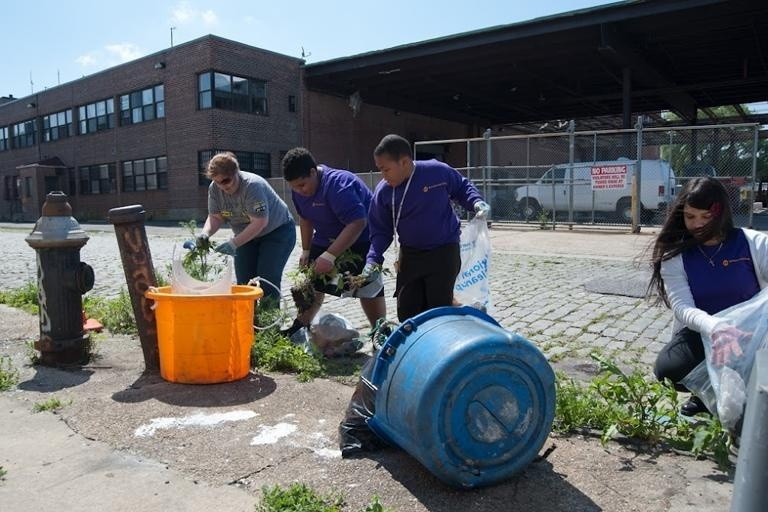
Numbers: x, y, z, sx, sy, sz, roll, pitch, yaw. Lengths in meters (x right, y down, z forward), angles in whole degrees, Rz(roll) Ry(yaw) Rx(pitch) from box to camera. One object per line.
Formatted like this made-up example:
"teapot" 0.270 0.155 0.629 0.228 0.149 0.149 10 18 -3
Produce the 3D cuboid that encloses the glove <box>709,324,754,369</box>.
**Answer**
"glove" 2.367 0.608 4.001 0.234 0.264 0.141 4 10 32

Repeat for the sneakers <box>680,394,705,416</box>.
"sneakers" 2.414 1.148 4.536 0.249 0.113 0.083 -9 8 -31

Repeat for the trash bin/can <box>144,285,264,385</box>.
"trash bin/can" -1.639 0.608 5.399 0.885 0.696 0.881 -1 -1 -17

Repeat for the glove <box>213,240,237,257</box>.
"glove" -1.573 -0.107 5.850 0.143 0.146 0.180 30 -5 -41

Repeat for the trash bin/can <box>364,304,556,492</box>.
"trash bin/can" 0.543 0.928 4.034 1.200 1.102 0.575 -3 9 -12

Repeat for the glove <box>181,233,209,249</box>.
"glove" -1.921 -0.142 6.058 0.198 0.085 0.175 -8 8 -18

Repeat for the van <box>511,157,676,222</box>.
"van" 6.415 -2.057 18.123 3.621 1.657 1.864 4 9 32

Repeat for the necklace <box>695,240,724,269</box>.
"necklace" 2.508 -0.011 4.512 0.178 0.160 0.055 -5 -21 38

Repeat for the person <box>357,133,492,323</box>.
"person" 0.354 -0.254 5.432 1.043 1.700 0.527 0 8 8
